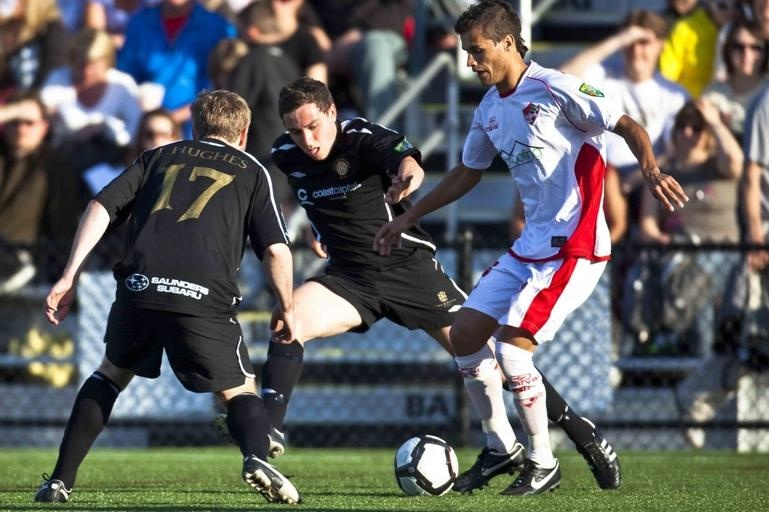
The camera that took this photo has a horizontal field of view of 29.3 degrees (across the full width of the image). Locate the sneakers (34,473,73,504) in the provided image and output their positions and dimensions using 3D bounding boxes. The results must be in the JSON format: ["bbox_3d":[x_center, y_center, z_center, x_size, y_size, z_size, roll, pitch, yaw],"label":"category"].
[{"bbox_3d":[-2.408,1.716,10.672,0.249,0.200,0.202,-3,5,-19],"label":"sneakers"}]
